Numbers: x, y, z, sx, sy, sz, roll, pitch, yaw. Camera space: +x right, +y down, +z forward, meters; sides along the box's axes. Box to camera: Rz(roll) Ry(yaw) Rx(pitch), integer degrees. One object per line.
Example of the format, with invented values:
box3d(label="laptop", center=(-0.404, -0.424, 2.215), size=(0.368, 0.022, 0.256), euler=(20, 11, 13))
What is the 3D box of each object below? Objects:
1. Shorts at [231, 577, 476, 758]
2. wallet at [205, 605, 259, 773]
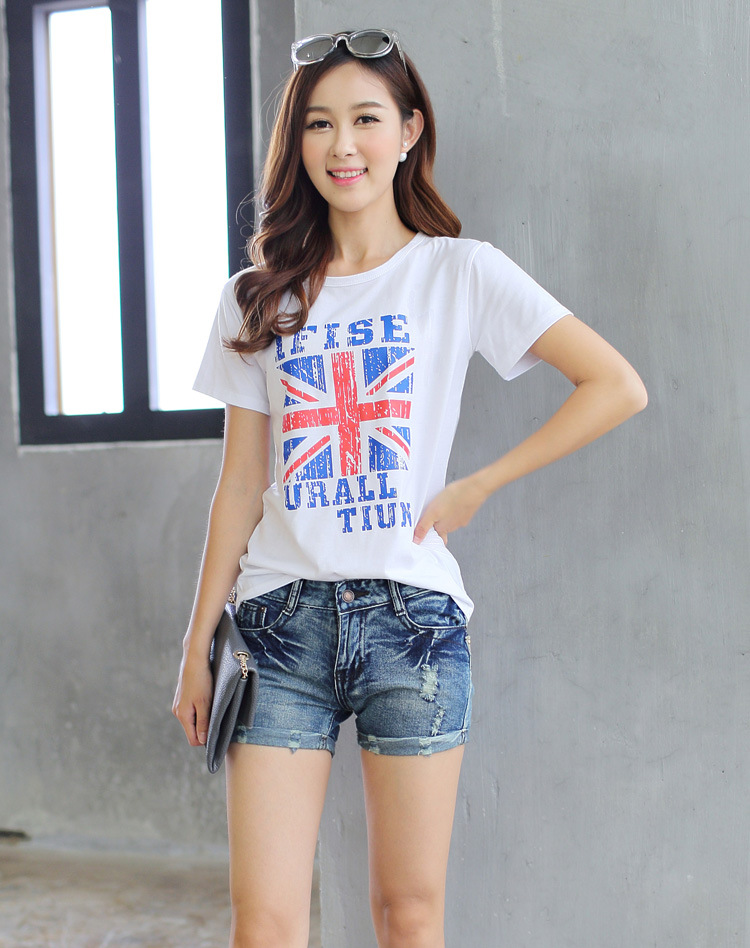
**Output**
box3d(label="Shorts", center=(-0.024, 0.291, 2.046), size=(0.474, 0.352, 0.276), euler=(1, -6, 6))
box3d(label="wallet", center=(-0.237, 0.365, 2.001), size=(0.054, 0.162, 0.251), euler=(6, 34, -13))
